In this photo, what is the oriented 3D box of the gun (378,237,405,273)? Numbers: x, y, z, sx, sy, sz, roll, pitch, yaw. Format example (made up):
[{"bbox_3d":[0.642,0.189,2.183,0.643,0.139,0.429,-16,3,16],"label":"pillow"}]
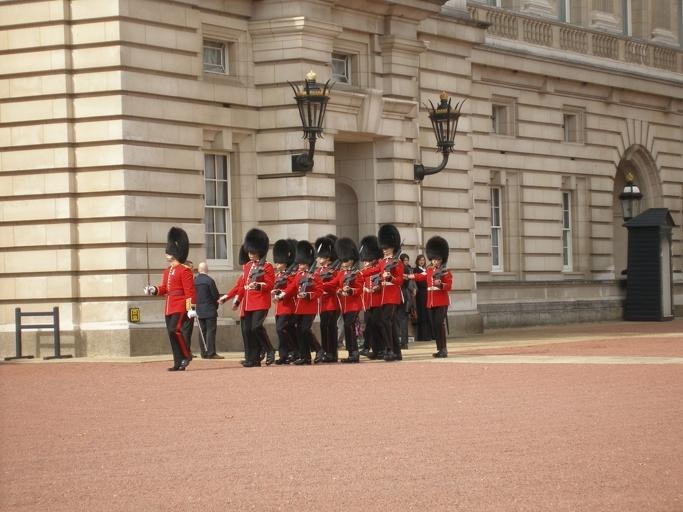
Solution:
[{"bbox_3d":[0.772,0.054,18.133,0.248,0.180,0.677,8,32,17],"label":"gun"}]

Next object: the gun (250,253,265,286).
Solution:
[{"bbox_3d":[-1.256,0.201,17.615,0.248,0.369,0.408,-3,-3,-4],"label":"gun"}]

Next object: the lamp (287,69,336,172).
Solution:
[{"bbox_3d":[-0.515,-2.296,20.539,0.876,1.725,0.874,-1,6,12],"label":"lamp"}]

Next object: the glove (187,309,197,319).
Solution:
[{"bbox_3d":[-2.178,0.828,17.175,0.152,0.070,0.207,1,-7,-4],"label":"glove"}]

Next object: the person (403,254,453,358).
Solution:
[{"bbox_3d":[1.300,0.729,18.180,0.844,1.604,0.579,3,-9,-9],"label":"person"}]

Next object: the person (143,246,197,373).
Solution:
[{"bbox_3d":[-2.451,0.790,17.246,0.629,1.684,1.007,-3,-3,-7],"label":"person"}]

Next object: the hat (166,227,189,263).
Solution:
[{"bbox_3d":[-2.420,-0.148,17.436,0.330,0.520,0.317,-10,1,-24],"label":"hat"}]
